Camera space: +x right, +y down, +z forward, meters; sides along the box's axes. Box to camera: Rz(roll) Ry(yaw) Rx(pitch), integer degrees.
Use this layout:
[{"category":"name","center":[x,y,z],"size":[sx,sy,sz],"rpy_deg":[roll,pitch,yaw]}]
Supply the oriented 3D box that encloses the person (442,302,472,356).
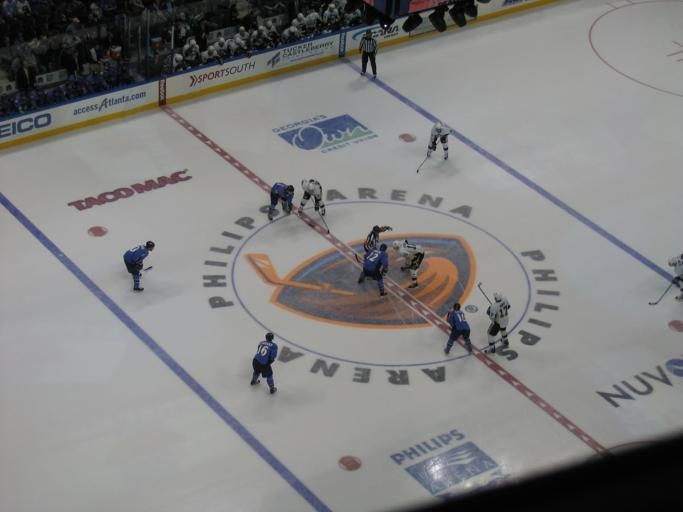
[{"category":"person","center":[2.494,1.534,15.639],"size":[0.579,1.041,0.665],"rpy_deg":[-8,10,-38]}]

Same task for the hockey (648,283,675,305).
[{"category":"hockey","center":[7.573,0.951,17.493],"size":[0.169,0.559,0.553],"rpy_deg":[42,49,6]}]

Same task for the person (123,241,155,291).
[{"category":"person","center":[-4.568,0.276,16.691],"size":[0.695,1.086,0.418],"rpy_deg":[-9,46,-17]}]

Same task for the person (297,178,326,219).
[{"category":"person","center":[-0.771,-1.490,18.786],"size":[0.626,1.171,0.337],"rpy_deg":[3,49,-1]}]

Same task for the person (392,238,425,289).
[{"category":"person","center":[1.579,0.239,17.538],"size":[0.579,0.952,0.621],"rpy_deg":[-7,69,7]}]

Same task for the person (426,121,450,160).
[{"category":"person","center":[2.791,-3.395,21.310],"size":[0.639,1.175,1.076],"rpy_deg":[-1,35,8]}]

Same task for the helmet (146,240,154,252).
[{"category":"helmet","center":[-4.224,-0.206,16.353],"size":[0.240,0.236,0.190],"rpy_deg":[6,10,29]}]

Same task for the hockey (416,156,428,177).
[{"category":"hockey","center":[2.295,-2.527,21.098],"size":[0.071,0.122,0.791],"rpy_deg":[-8,48,37]}]

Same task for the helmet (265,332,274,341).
[{"category":"helmet","center":[-1.381,1.566,14.244],"size":[0.147,0.195,0.182],"rpy_deg":[1,46,-2]}]

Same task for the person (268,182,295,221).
[{"category":"person","center":[-1.587,-1.480,18.973],"size":[0.721,0.980,0.751],"rpy_deg":[-8,35,-2]}]

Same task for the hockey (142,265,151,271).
[{"category":"hockey","center":[-4.487,0.285,16.994],"size":[0.123,0.142,0.514],"rpy_deg":[1,-3,-22]}]

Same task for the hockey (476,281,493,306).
[{"category":"hockey","center":[3.334,0.854,17.336],"size":[0.137,0.073,0.663],"rpy_deg":[-49,44,13]}]

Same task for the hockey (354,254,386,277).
[{"category":"hockey","center":[0.770,0.199,16.793],"size":[0.469,0.465,0.196],"rpy_deg":[9,1,13]}]
